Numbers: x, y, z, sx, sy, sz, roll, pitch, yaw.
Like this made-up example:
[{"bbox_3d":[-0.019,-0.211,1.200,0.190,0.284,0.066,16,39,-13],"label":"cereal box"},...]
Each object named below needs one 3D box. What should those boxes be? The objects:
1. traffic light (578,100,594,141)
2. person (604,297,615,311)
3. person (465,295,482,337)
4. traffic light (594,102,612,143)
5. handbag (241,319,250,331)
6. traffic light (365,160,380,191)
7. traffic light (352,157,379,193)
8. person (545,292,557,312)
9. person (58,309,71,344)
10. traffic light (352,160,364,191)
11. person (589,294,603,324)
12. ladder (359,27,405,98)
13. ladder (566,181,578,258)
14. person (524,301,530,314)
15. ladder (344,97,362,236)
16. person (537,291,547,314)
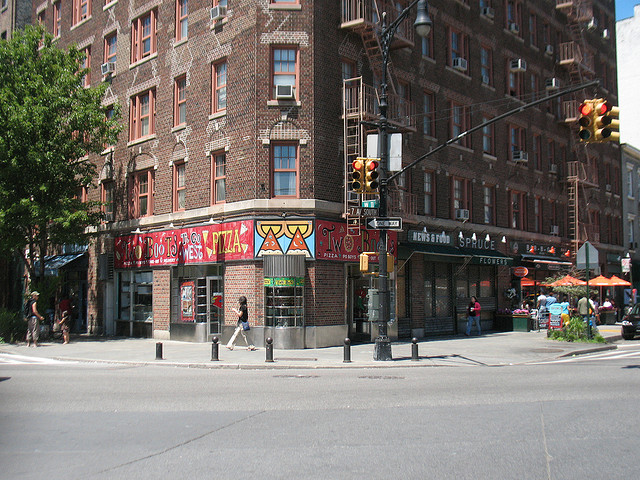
[{"bbox_3d":[8.384,-3.790,24.660,0.476,1.359,0.411,-3,-8,21],"label":"traffic light"},{"bbox_3d":[18.503,4.079,50.150,0.583,0.888,2.477,-3,-10,20],"label":"person"},{"bbox_3d":[7.754,3.916,40.062,0.758,1.917,1.565,-1,-8,6],"label":"person"},{"bbox_3d":[8.776,-3.745,24.299,0.413,1.181,0.810,2,-8,-15],"label":"traffic light"},{"bbox_3d":[-3.059,3.442,31.918,0.268,0.585,0.326,-4,-1,-10],"label":"handbag"},{"bbox_3d":[1.795,-2.293,27.645,0.494,1.085,0.256,1,-7,-13],"label":"traffic light"},{"bbox_3d":[1.585,-2.289,27.606,1.052,1.589,0.755,1,-3,-22],"label":"traffic light"},{"bbox_3d":[12.359,3.401,42.011,0.424,0.910,2.519,-2,-10,14],"label":"person"},{"bbox_3d":[-11.687,3.987,35.738,0.413,1.586,2.109,2,-9,-18],"label":"person"},{"bbox_3d":[1.320,-2.299,27.501,0.441,1.095,0.249,3,-8,-22],"label":"traffic light"},{"bbox_3d":[15.748,3.968,44.811,0.643,0.596,2.147,-18,-43,29],"label":"person"},{"bbox_3d":[2.816,-8.030,36.392,0.871,2.286,3.834,-4,-10,26],"label":"ladder"},{"bbox_3d":[15.956,-1.294,49.701,0.794,4.824,1.971,-3,-8,18],"label":"ladder"},{"bbox_3d":[11.855,3.797,44.942,0.297,0.763,2.213,-2,-10,14],"label":"person"},{"bbox_3d":[1.394,-3.333,34.168,0.657,6.058,1.510,-1,-7,2],"label":"ladder"},{"bbox_3d":[12.281,3.538,43.397,0.446,0.993,0.671,-3,-8,17],"label":"person"}]
